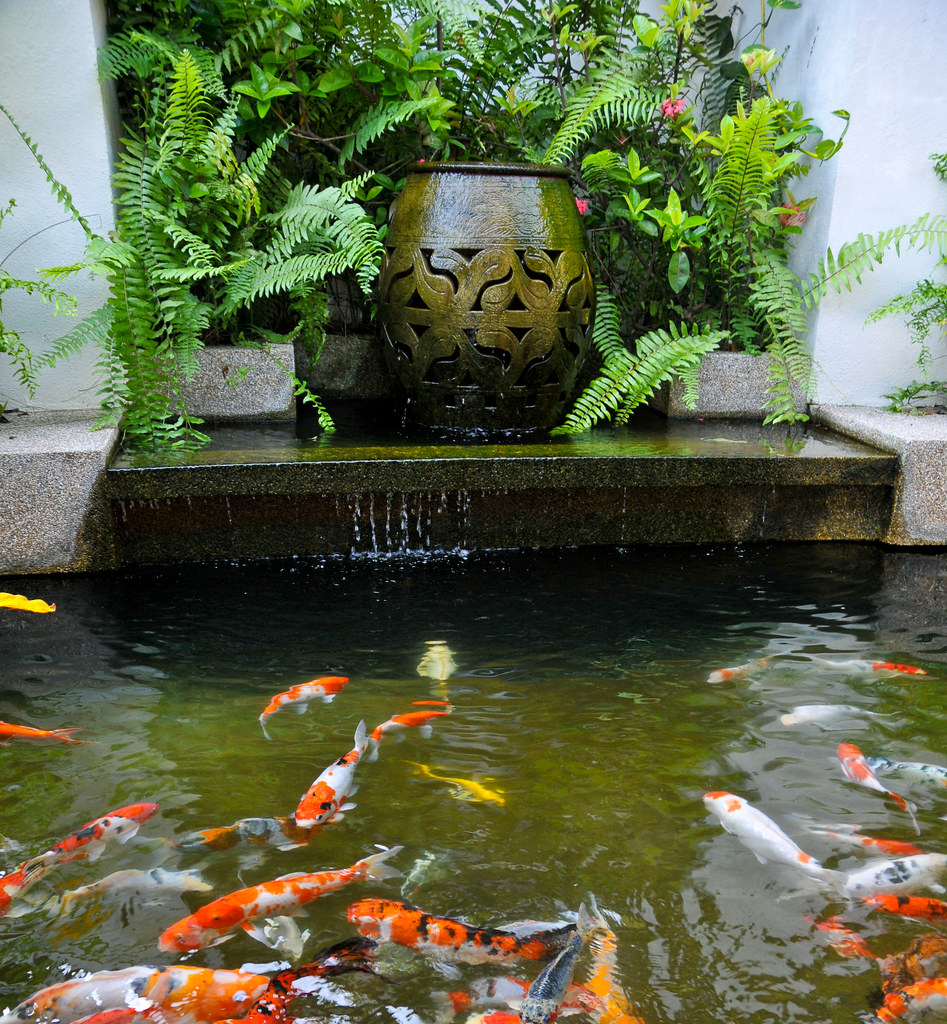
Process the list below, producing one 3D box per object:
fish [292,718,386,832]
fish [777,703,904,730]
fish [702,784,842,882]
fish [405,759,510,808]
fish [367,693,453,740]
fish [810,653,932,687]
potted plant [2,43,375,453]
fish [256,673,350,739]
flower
[{"bbox_3d":[-0.306,0.606,2.291,0.067,0.103,0.295,11,24,15],"label":"fish"},{"bbox_3d":[0.933,0.529,2.619,0.321,0.035,0.104,-2,10,-5],"label":"fish"},{"bbox_3d":[0.612,0.668,2.165,0.126,0.064,0.321,-21,19,-28],"label":"fish"},{"bbox_3d":[-0.027,0.629,2.321,0.299,0.054,0.082,7,2,25],"label":"fish"},{"bbox_3d":[-0.156,0.523,2.581,0.227,0.065,0.066,-21,21,-20],"label":"fish"},{"bbox_3d":[1.122,0.444,2.878,0.323,0.039,0.119,0,10,6],"label":"fish"},{"bbox_3d":[-1.064,-1.068,3.985,1.335,1.578,0.995,-6,13,-19],"label":"potted plant"},{"bbox_3d":[-0.438,0.489,2.582,0.336,0.105,0.074,-14,10,-30],"label":"fish"},{"bbox_3d":[1.221,-1.067,4.381,1.870,1.389,1.178,-4,21,-9],"label":"flower"}]
